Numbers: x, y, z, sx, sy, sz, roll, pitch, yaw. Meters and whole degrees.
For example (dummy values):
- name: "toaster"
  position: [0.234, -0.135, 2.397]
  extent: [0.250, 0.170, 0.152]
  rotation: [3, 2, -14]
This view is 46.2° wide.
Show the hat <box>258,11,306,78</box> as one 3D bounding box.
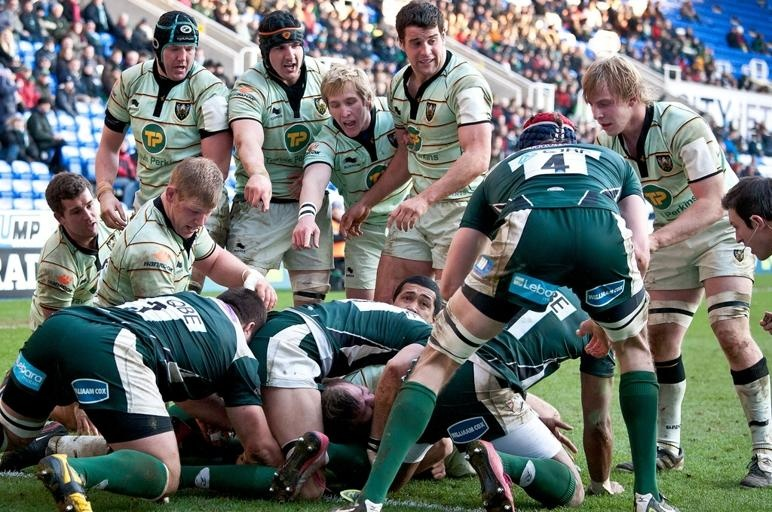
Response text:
- name: "hat"
  position: [-0.920, -1.873, 7.914]
  extent: [0.368, 0.516, 0.252]
  rotation: [2, -1, -5]

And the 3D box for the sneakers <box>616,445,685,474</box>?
- name: "sneakers"
  position: [2.106, 1.601, 7.114]
  extent: [0.662, 0.298, 0.225]
  rotation: [4, -8, -30]

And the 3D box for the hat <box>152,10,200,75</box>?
- name: "hat"
  position: [-1.806, -1.840, 7.711]
  extent: [0.389, 0.534, 0.486]
  rotation: [-4, 18, -31]

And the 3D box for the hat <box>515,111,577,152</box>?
- name: "hat"
  position: [1.123, -0.859, 6.297]
  extent: [0.266, 0.318, 0.354]
  rotation: [4, 8, 11]
